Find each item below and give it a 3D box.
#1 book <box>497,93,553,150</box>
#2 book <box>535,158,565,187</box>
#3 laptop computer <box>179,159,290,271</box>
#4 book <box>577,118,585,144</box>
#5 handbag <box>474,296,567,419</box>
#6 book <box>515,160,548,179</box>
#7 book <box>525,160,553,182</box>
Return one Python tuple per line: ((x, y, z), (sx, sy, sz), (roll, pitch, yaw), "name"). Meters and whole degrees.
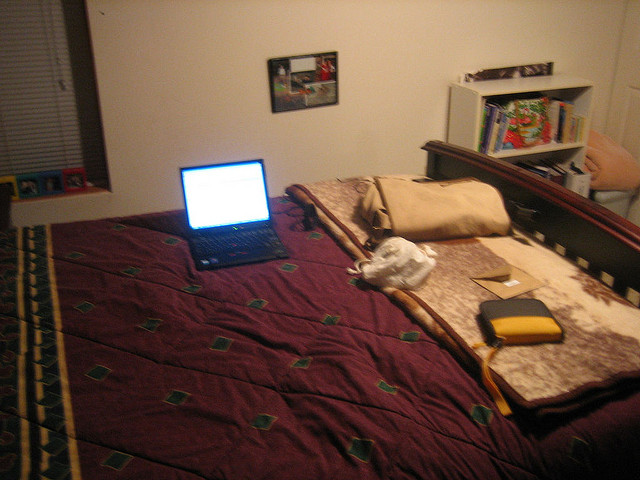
((1.563, -0.884, 3.757), (0.527, 0.404, 0.138), (-12, 17, -16), "book")
((1.767, -0.531, 3.794), (0.091, 0.022, 0.275), (-33, 49, -5), "book")
((-0.492, -0.198, 2.564), (0.594, 0.296, 0.541), (-5, 15, 6), "laptop computer")
((1.957, -0.814, 3.686), (0.040, 0.189, 0.043), (-3, 23, 7), "book")
((0.716, 0.381, 1.865), (0.330, 0.111, 0.487), (19, 48, 24), "handbag")
((1.595, -0.546, 3.794), (0.283, 0.037, 0.075), (28, 48, 23), "book")
((1.709, -0.536, 3.773), (0.082, 0.052, 0.282), (-22, 47, -33), "book")
